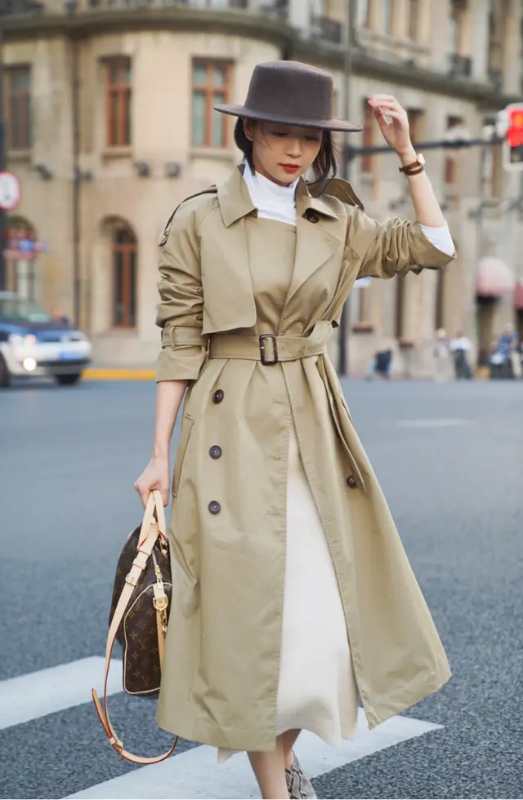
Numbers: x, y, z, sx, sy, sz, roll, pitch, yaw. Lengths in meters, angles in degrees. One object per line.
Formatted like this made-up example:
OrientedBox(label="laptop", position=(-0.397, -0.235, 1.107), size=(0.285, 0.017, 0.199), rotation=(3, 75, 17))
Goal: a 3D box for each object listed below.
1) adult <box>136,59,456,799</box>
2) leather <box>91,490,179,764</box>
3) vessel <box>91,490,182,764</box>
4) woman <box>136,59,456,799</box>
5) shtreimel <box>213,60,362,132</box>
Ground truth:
OrientedBox(label="adult", position=(0.085, -0.010, 2.321), size=(0.695, 1.449, 0.479), rotation=(-1, 5, -14))
OrientedBox(label="leather", position=(-0.262, 0.511, 2.284), size=(0.225, 0.513, 0.191), rotation=(0, -5, 4))
OrientedBox(label="vessel", position=(-0.252, 0.514, 2.282), size=(0.223, 0.512, 0.196), rotation=(0, -3, 10))
OrientedBox(label="woman", position=(0.084, -0.010, 2.322), size=(0.693, 1.449, 0.480), rotation=(-1, 5, -14))
OrientedBox(label="shtreimel", position=(0.072, -0.649, 2.286), size=(0.211, 0.091, 0.212), rotation=(9, 16, 32))
